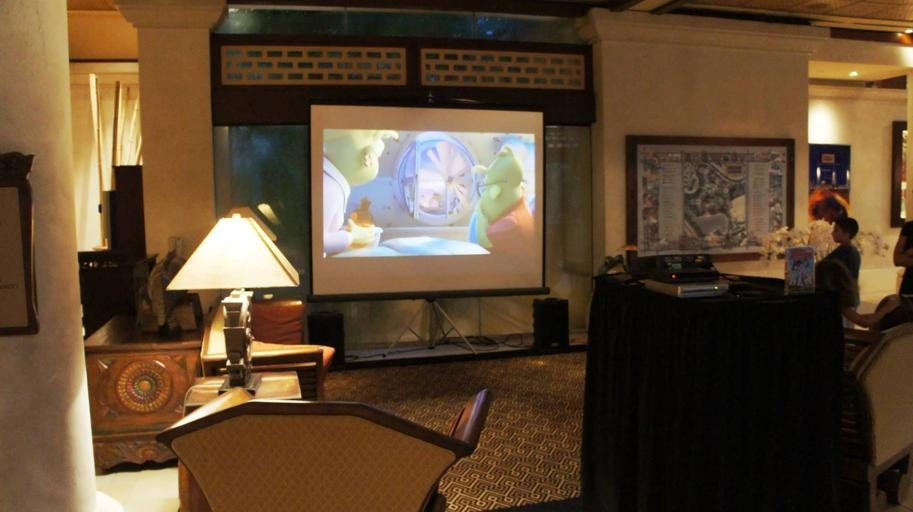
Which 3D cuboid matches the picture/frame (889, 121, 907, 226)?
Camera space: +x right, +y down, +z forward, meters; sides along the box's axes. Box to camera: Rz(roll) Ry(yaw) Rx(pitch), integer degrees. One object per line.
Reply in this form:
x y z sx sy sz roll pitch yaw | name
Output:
6.977 -1.287 11.931 0.223 1.691 0.472 2 11 29 | picture/frame

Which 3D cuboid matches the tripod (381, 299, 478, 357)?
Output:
-0.337 0.819 9.451 0.805 0.579 0.872 -1 -1 18 | tripod

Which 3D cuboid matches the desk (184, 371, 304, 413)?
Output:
-1.749 1.088 6.198 0.796 0.476 0.388 -1 2 -6 | desk
